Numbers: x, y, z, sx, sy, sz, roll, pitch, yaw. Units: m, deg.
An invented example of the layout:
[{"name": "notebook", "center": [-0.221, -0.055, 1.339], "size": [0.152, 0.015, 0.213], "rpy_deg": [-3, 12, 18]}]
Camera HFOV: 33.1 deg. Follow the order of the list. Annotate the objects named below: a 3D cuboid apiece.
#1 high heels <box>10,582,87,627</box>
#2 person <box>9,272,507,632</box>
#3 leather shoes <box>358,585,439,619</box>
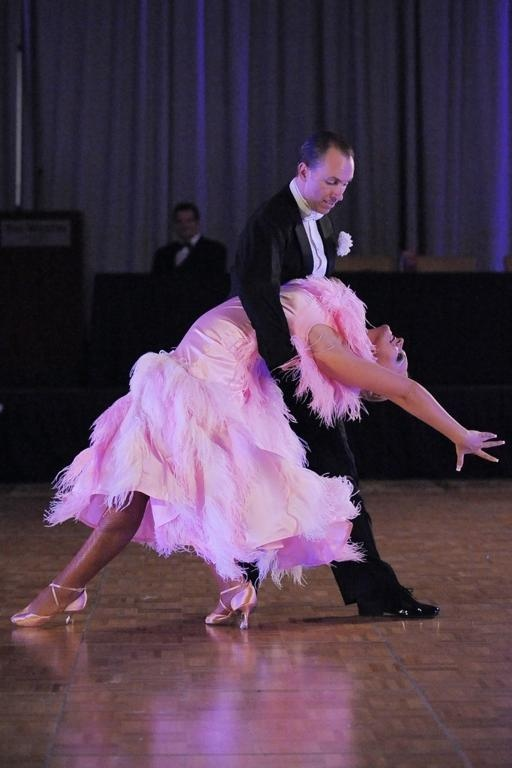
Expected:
[{"name": "high heels", "center": [-0.441, 0.473, 1.838], "size": [0.153, 0.064, 0.083], "rpy_deg": [-5, 4, -10]}, {"name": "person", "center": [-0.007, 0.132, 1.827], "size": [0.930, 0.789, 0.439], "rpy_deg": [4, -2, -15]}, {"name": "leather shoes", "center": [0.317, 0.497, 1.970], "size": [0.209, 0.083, 0.068], "rpy_deg": [-4, -5, 6]}]
